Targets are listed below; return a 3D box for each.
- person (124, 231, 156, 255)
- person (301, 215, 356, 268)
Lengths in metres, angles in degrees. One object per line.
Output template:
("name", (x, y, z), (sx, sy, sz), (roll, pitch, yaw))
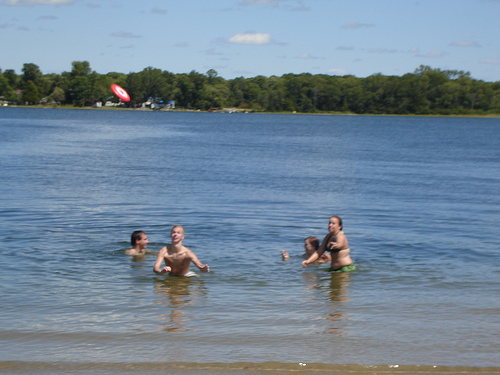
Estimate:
("person", (-3.297, 1.653, 21.915), (1.111, 0.589, 1.026), (1, 0, -11))
("person", (2.257, 1.533, 20.680), (1.391, 1.453, 0.981), (0, 8, 5))
